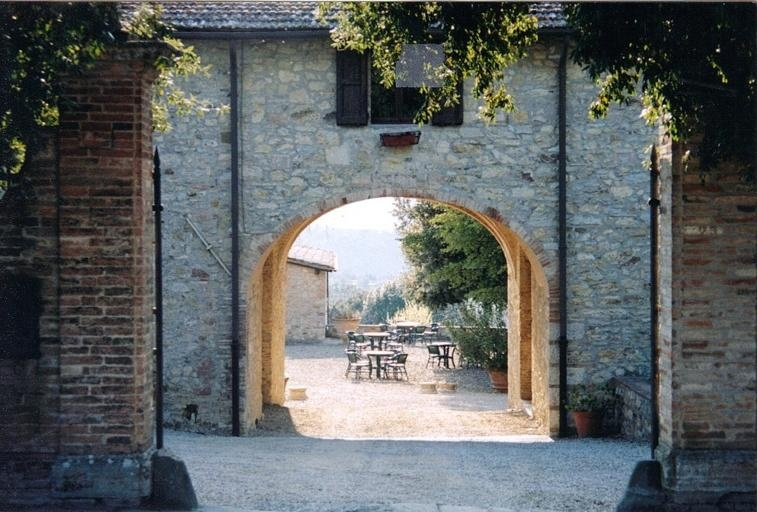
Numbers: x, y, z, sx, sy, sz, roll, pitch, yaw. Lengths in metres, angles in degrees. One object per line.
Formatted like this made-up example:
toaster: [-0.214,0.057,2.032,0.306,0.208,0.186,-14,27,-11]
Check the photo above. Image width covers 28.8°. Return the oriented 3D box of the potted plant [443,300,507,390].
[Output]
potted plant: [1.860,1.591,26.470,0.761,1.745,2.498,0,-7,-4]

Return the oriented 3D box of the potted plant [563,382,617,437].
potted plant: [2.860,2.145,20.005,0.748,0.738,0.728,3,-22,-6]
